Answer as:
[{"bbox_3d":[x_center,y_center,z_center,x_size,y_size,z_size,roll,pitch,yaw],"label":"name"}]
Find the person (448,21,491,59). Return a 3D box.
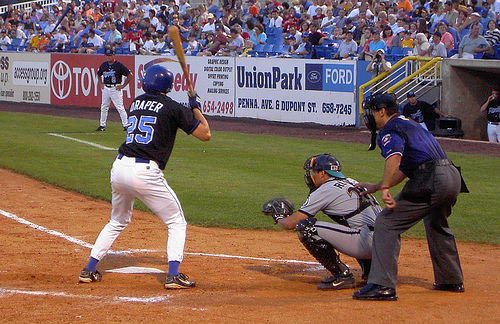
[{"bbox_3d":[6.704,-3.582,24.173,1.255,1.377,0.927,-3,14,-29],"label":"person"}]

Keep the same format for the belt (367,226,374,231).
[{"bbox_3d":[2.202,1.214,14.236,0.113,0.095,0.026,-2,-9,-5],"label":"belt"}]

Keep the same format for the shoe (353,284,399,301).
[{"bbox_3d":[2.249,2.337,13.962,0.763,0.316,0.275,4,-3,2],"label":"shoe"}]

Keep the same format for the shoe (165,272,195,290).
[{"bbox_3d":[-1.267,2.165,14.102,0.542,0.290,0.202,2,5,-6],"label":"shoe"}]

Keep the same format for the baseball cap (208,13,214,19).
[{"bbox_3d":[-1.630,-6.000,31.983,0.296,0.089,0.293,16,27,35],"label":"baseball cap"}]

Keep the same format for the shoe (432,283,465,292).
[{"bbox_3d":[3.665,2.306,14.361,0.539,0.208,0.175,6,1,13],"label":"shoe"}]

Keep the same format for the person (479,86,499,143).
[{"bbox_3d":[7.468,-1.440,23.938,0.353,1.606,0.593,-1,6,-30],"label":"person"}]

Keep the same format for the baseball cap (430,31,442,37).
[{"bbox_3d":[5.949,-4.061,24.764,0.309,0.105,0.186,4,8,-19],"label":"baseball cap"}]

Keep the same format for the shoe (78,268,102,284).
[{"bbox_3d":[-2.914,2.078,14.212,0.204,0.197,0.439,1,1,22],"label":"shoe"}]

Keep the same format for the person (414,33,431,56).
[{"bbox_3d":[5.574,-3.793,25.256,0.523,0.696,0.365,4,5,15],"label":"person"}]

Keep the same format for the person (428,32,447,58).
[{"bbox_3d":[6.038,-3.732,24.877,0.591,0.806,0.504,3,5,4],"label":"person"}]

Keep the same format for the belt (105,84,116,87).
[{"bbox_3d":[-4.387,-2.398,24.452,0.311,0.100,0.099,4,5,20],"label":"belt"}]

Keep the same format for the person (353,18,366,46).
[{"bbox_3d":[3.808,-4.502,26.983,0.368,0.904,0.664,1,5,-12],"label":"person"}]

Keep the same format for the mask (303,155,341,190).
[{"bbox_3d":[1.386,0.148,14.433,0.689,0.654,0.768,-10,10,-34],"label":"mask"}]

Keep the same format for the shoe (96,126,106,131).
[{"bbox_3d":[-4.872,-1.097,25.445,0.317,0.171,0.496,1,5,-12],"label":"shoe"}]

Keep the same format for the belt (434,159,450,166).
[{"bbox_3d":[3.405,0.009,13.790,0.134,0.068,0.174,5,-3,-25],"label":"belt"}]

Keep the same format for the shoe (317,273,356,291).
[{"bbox_3d":[1.637,2.254,14.533,0.736,0.283,0.258,1,0,-9],"label":"shoe"}]

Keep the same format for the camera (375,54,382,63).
[{"bbox_3d":[4.154,-3.351,25.162,0.180,0.229,0.474,3,5,3],"label":"camera"}]
